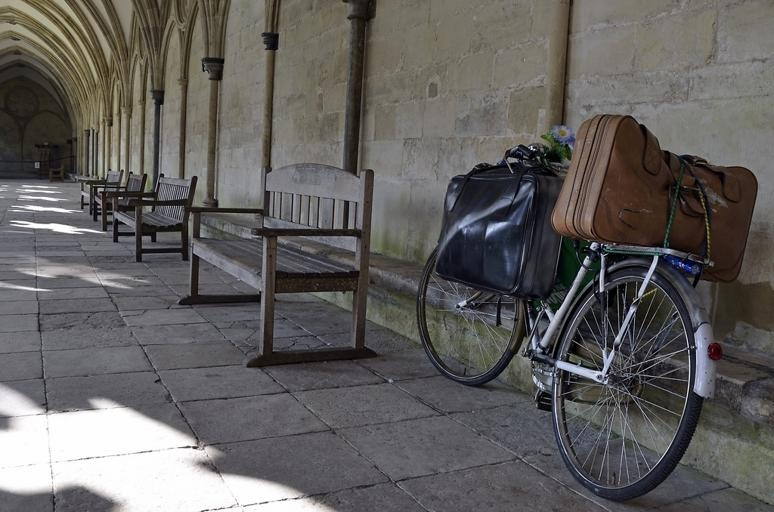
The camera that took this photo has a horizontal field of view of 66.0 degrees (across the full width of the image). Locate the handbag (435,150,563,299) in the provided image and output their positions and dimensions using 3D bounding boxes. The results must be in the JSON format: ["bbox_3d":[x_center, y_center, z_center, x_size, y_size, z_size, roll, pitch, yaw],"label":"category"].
[{"bbox_3d":[0.652,-0.174,3.622,0.428,0.786,0.812,4,6,-31],"label":"handbag"}]

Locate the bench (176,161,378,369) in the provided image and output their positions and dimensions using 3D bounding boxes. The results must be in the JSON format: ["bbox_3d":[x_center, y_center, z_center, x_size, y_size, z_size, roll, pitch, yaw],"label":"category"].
[{"bbox_3d":[-1.010,-0.077,5.067,0.879,1.409,2.223,0,7,-30],"label":"bench"}]

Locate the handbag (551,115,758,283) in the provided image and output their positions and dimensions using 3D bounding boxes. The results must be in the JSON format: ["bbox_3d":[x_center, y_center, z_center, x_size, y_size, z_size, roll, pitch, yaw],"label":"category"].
[{"bbox_3d":[1.293,-0.268,3.085,0.921,0.625,0.441,22,-8,-37],"label":"handbag"}]

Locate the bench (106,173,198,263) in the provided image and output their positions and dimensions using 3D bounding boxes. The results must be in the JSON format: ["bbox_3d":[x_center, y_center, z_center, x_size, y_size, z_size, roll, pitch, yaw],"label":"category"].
[{"bbox_3d":[-3.372,-0.512,8.578,0.673,0.906,1.580,0,5,-28],"label":"bench"}]

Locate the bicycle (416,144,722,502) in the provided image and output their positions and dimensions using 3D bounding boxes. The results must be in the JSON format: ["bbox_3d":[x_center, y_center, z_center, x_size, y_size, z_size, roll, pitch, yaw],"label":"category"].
[{"bbox_3d":[0.941,0.237,3.570,0.663,1.560,2.434,1,9,-20],"label":"bicycle"}]
